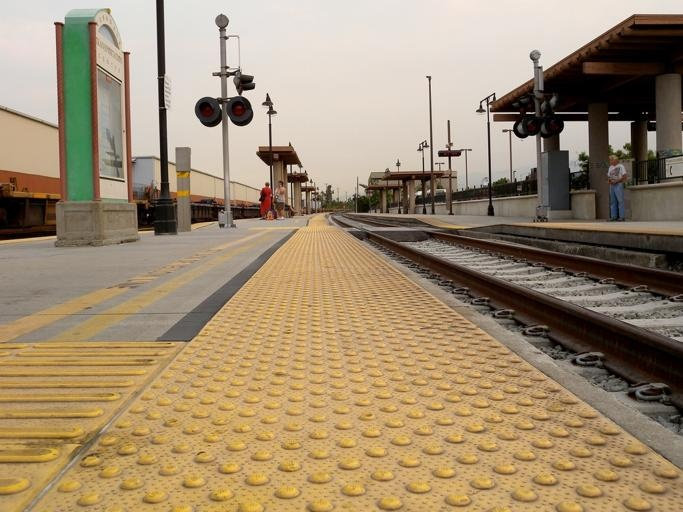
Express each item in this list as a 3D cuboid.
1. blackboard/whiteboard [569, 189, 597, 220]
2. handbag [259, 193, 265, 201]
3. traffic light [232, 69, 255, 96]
[{"bbox_3d":[9.679,-2.059,22.306,0.496,1.164,1.166,-1,7,-13],"label":"blackboard/whiteboard"},{"bbox_3d":[-4.787,-3.632,34.160,0.178,0.592,1.125,-1,7,-15],"label":"handbag"},{"bbox_3d":[-3.845,-6.872,22.105,0.705,0.864,0.759,-1,6,-12],"label":"traffic light"}]
